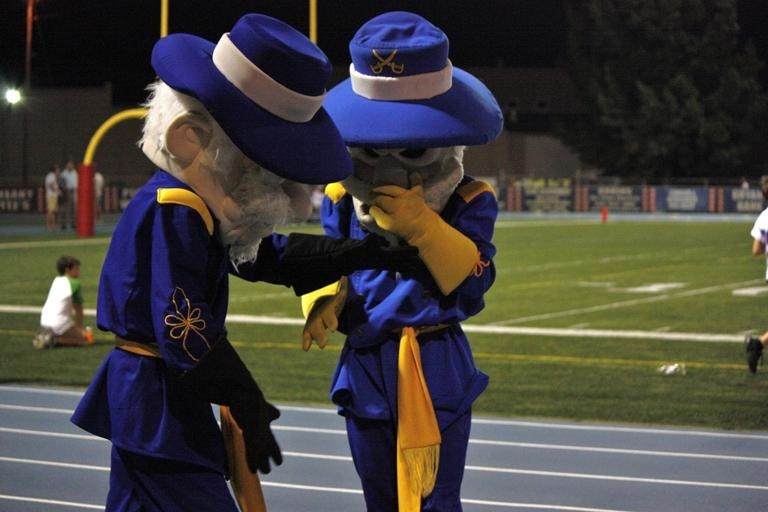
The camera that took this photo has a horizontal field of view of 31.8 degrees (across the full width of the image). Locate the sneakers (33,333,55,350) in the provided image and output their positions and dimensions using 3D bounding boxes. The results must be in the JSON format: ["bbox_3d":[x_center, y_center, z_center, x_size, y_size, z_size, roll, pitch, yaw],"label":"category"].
[{"bbox_3d":[-4.274,1.085,16.906,0.198,0.168,0.228,-3,-2,1],"label":"sneakers"}]

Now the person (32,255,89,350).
[{"bbox_3d":[-4.067,0.606,17.054,0.632,1.123,0.942,4,8,20],"label":"person"}]
